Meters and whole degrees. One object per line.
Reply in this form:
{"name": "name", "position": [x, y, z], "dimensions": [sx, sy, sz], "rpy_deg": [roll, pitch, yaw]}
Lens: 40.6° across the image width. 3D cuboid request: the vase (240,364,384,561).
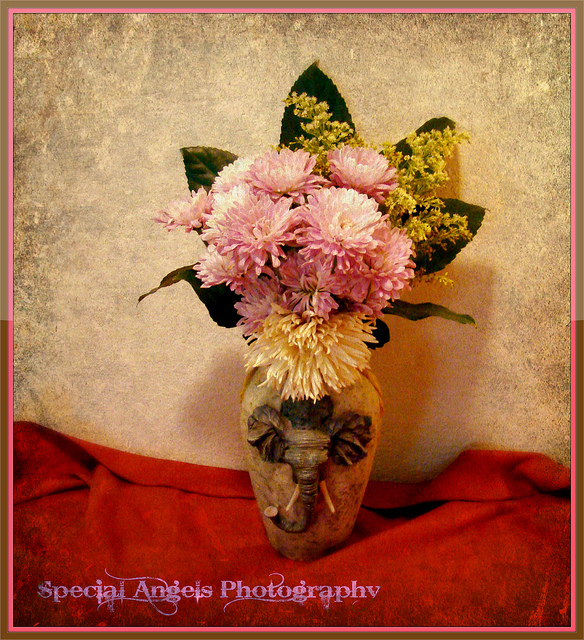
{"name": "vase", "position": [0.047, 0.260, 1.539], "dimensions": [0.238, 0.435, 0.242], "rpy_deg": [5, 20, 9]}
